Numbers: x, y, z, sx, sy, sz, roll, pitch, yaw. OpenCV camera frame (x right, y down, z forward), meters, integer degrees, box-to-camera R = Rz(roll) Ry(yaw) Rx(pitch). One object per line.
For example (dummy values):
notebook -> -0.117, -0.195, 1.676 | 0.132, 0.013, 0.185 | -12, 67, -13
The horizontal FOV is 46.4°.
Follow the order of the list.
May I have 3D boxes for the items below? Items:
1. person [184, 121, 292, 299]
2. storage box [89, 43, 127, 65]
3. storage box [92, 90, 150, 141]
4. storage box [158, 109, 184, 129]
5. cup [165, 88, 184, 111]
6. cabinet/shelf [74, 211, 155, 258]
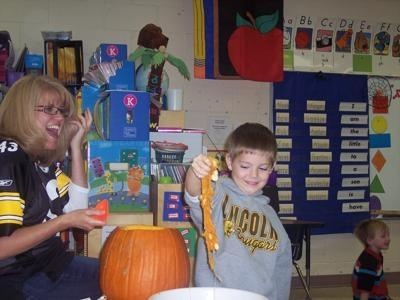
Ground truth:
person -> 0.217, 0.404, 2.839 | 0.452, 1.103, 0.793 | 6, 8, 40
storage box -> -0.806, -0.838, 4.132 | 0.314, 0.223, 0.332 | 0, 4, -8
storage box -> -0.543, -0.271, 4.007 | 0.427, 0.411, 0.448 | 3, 1, 25
storage box -> -0.239, -0.277, 4.222 | 0.251, 0.157, 0.201 | -1, 7, -17
cup -> -0.230, -0.462, 4.318 | 0.164, 0.299, 0.170 | -1, 3, 0
cabinet/shelf -> -0.662, 0.588, 3.648 | 0.540, 0.587, 0.310 | -1, -2, 0
